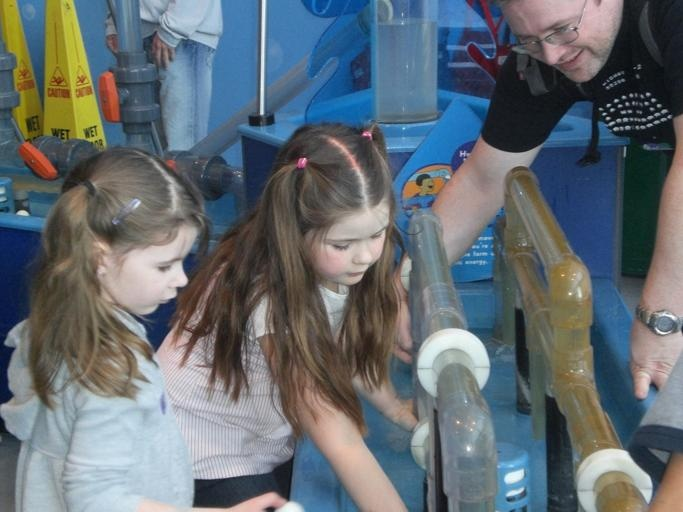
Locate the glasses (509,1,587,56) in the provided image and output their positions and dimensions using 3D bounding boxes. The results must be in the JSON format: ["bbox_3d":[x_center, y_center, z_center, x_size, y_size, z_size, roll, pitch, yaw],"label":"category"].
[{"bbox_3d":[0.432,-0.487,1.390,0.075,0.098,0.184,-3,11,-26],"label":"glasses"}]
